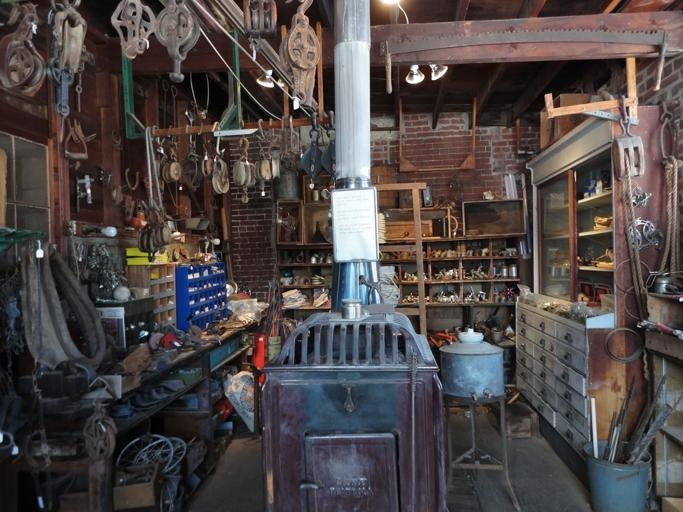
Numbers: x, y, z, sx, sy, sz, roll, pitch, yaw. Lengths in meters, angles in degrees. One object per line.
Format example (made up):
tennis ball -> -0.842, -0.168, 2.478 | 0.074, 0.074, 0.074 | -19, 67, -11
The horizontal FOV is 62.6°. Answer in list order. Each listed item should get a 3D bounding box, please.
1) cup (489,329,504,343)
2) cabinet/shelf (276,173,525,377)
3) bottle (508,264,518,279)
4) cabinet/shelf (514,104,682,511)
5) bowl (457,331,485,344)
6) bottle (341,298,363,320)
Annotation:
cup -> 1.920, 0.989, 6.953 | 0.147, 0.130, 0.134 | -1, 4, -1
cabinet/shelf -> 0.796, 0.043, 5.237 | 1.781, 1.326, 4.582 | -3, 0, 18
bottle -> 2.161, 0.207, 7.078 | 0.105, 0.196, 0.141 | 4, -12, -25
cabinet/shelf -> 2.384, 0.418, 5.437 | 0.818, 2.929, 1.929 | -3, 1, -1
bowl -> 1.113, 0.692, 4.817 | 0.130, 0.068, 0.128 | -3, 4, 0
bottle -> 0.066, 0.321, 3.404 | 0.113, 0.095, 0.109 | -1, 2, -22
